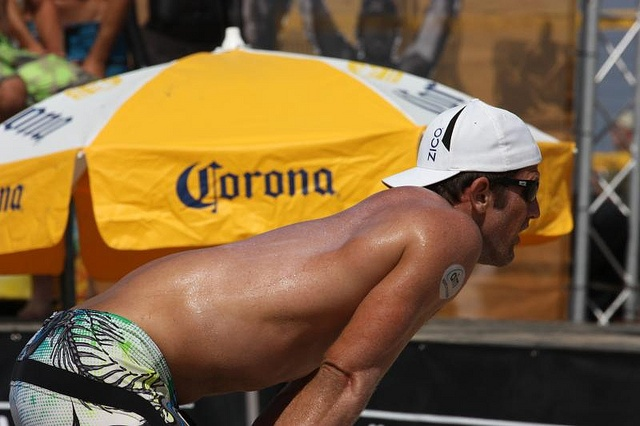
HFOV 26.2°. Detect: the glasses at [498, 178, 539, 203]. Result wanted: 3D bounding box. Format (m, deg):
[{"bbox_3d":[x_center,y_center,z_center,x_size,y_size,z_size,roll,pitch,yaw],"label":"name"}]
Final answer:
[{"bbox_3d":[1.267,-0.168,8.658,0.176,0.078,0.174,19,-1,-5],"label":"glasses"}]
